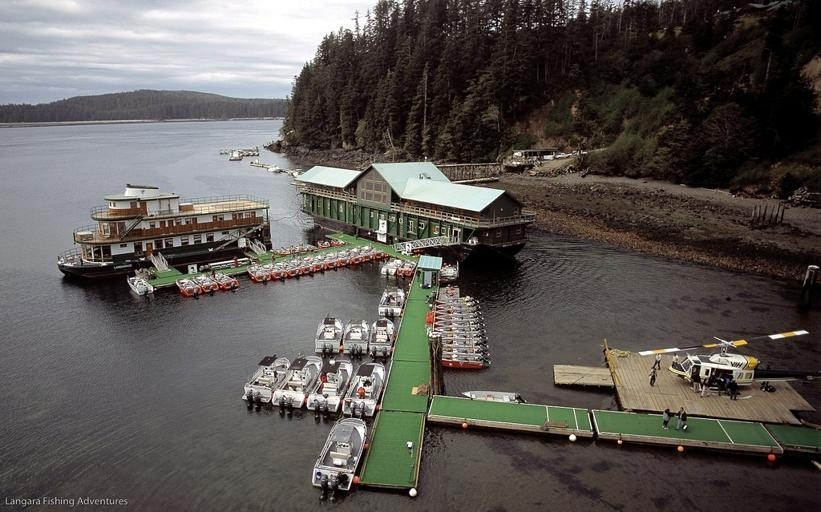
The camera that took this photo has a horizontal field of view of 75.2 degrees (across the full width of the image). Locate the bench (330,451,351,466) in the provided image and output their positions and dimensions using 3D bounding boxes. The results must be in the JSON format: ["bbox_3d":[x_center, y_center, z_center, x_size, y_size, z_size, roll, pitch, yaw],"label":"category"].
[{"bbox_3d":[-5.915,17.353,45.217,2.033,1.182,0.953,1,-15,4],"label":"bench"}]

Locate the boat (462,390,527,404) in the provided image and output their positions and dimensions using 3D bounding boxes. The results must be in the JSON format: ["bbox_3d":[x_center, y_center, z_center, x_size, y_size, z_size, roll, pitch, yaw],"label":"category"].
[{"bbox_3d":[8.118,13.499,51.075,5.462,0.814,1.312,0,19,7],"label":"boat"}]

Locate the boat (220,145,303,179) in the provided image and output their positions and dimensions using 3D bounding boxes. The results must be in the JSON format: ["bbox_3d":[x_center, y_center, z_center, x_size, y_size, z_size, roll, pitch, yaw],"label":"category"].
[{"bbox_3d":[-54.743,-33.882,188.716,13.257,2.228,78.643,-11,20,-25],"label":"boat"}]

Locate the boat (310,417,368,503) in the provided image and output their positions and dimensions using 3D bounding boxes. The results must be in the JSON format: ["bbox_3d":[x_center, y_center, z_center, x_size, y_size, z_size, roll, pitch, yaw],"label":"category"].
[{"bbox_3d":[-5.845,17.399,45.990,3.259,2.341,6.145,8,40,11],"label":"boat"}]
